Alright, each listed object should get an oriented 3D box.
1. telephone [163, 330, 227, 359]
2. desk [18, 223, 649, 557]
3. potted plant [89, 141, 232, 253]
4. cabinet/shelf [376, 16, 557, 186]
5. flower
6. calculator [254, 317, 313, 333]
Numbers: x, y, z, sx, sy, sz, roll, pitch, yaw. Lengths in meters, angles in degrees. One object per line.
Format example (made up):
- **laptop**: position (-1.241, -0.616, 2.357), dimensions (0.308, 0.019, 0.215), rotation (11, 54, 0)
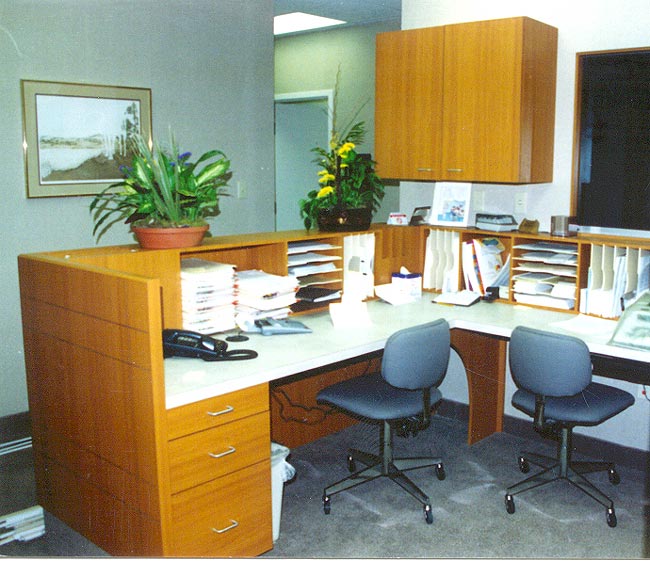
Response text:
- **telephone**: position (-0.495, 0.228, 2.001), dimensions (0.215, 0.060, 0.113), rotation (7, 14, 6)
- **desk**: position (-0.082, 0.419, 2.419), dimensions (1.795, 0.991, 1.799), rotation (10, 15, 41)
- **potted plant**: position (-0.755, -0.319, 2.440), dimensions (0.825, 0.471, 0.776), rotation (-3, 6, -24)
- **cabinet/shelf**: position (0.771, -0.988, 2.960), dimensions (0.361, 0.754, 0.950), rotation (-18, 25, -33)
- **flower**: position (0.092, -0.539, 2.767), dimensions (0.410, 0.499, 0.369), rotation (15, 34, 32)
- **calculator**: position (-0.195, 0.195, 2.314), dimensions (0.150, 0.043, 0.103), rotation (-3, 12, -16)
